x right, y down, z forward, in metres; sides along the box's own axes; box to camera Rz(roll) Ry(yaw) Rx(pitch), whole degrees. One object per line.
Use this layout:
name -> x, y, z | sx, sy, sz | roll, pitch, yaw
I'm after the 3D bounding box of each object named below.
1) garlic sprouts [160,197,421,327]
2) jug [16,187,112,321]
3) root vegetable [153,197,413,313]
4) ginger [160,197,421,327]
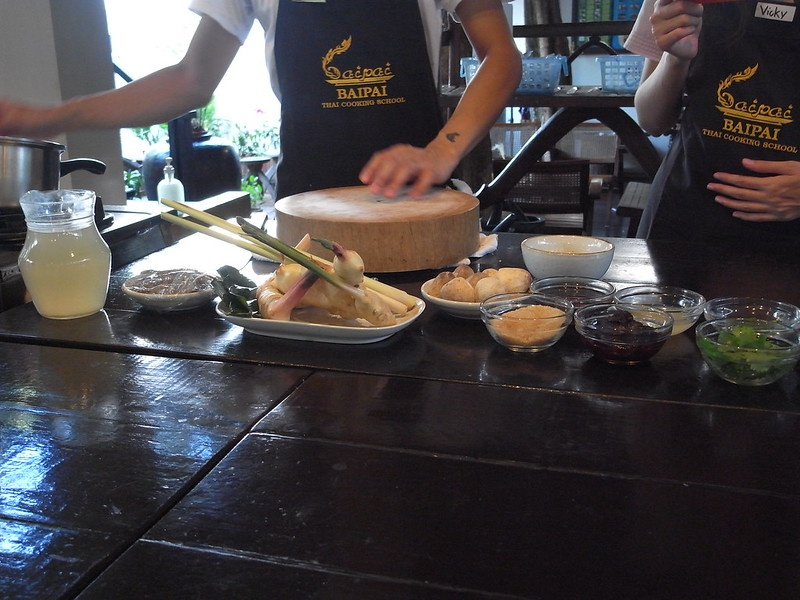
garlic sprouts -> -0.290, -0.070, 1.208 | 0.617, 0.183, 0.246 | 5, 27, 14
jug -> -0.682, -0.103, 1.257 | 0.166, 0.258, 0.188 | 10, 23, 18
root vegetable -> -0.179, -0.179, 1.358 | 0.553, 0.261, 0.531 | 8, 17, 28
ginger -> -0.152, -0.169, 1.324 | 0.550, 0.277, 0.493 | 9, 19, 29
